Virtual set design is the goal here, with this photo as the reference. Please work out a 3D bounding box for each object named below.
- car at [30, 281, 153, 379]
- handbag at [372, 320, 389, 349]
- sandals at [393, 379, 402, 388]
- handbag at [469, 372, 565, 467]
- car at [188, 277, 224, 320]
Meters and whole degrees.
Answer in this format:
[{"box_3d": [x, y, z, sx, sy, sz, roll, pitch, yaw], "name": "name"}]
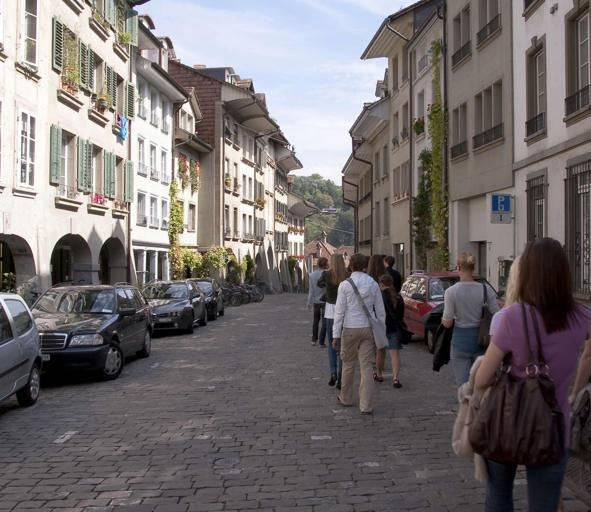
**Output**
[{"box_3d": [-3.685, 1.308, 11.083, 1.187, 1.070, 2.599, -1, -6, 1], "name": "car"}, {"box_3d": [1.117, 1.000, 7.625, 0.162, 0.390, 0.312, -1, -1, 32], "name": "handbag"}, {"box_3d": [1.548, 1.955, 9.086, 0.071, 0.098, 0.223, -2, -14, 4], "name": "sandals"}, {"box_3d": [1.051, 0.763, 2.771, 0.380, 0.477, 0.171, 1, 0, 31], "name": "handbag"}, {"box_3d": [-3.307, 1.610, 21.918, 1.108, 1.264, 2.599, -1, -5, 1], "name": "car"}]
